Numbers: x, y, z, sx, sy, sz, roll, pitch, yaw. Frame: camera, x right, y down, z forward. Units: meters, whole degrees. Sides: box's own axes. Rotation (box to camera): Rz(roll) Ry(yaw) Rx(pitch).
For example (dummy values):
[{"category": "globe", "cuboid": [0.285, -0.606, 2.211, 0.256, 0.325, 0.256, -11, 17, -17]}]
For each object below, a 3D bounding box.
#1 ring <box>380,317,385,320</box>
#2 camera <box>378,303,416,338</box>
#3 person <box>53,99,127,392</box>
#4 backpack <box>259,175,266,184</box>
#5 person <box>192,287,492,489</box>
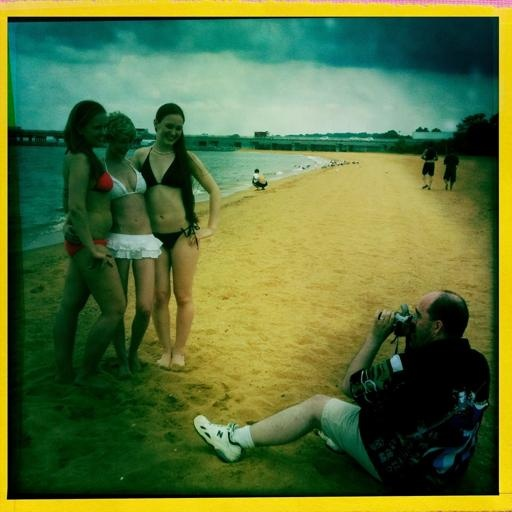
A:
[{"category": "ring", "cuboid": [0.801, 0.398, 3.457, 0.020, 0.020, 0.036, -1, -23, 3]}, {"category": "camera", "cuboid": [0.909, 0.417, 3.465, 0.115, 0.242, 0.178, 10, 0, 33]}, {"category": "person", "cuboid": [-1.267, -0.041, 4.138, 0.590, 2.219, 0.437, 6, 15, 15]}, {"category": "backpack", "cuboid": [0.253, -2.559, 18.048, 0.213, 0.288, 0.573, 3, 14, 5]}, {"category": "person", "cuboid": [0.589, 0.840, 3.585, 1.693, 1.191, 0.869, 0, -14, 18]}]
